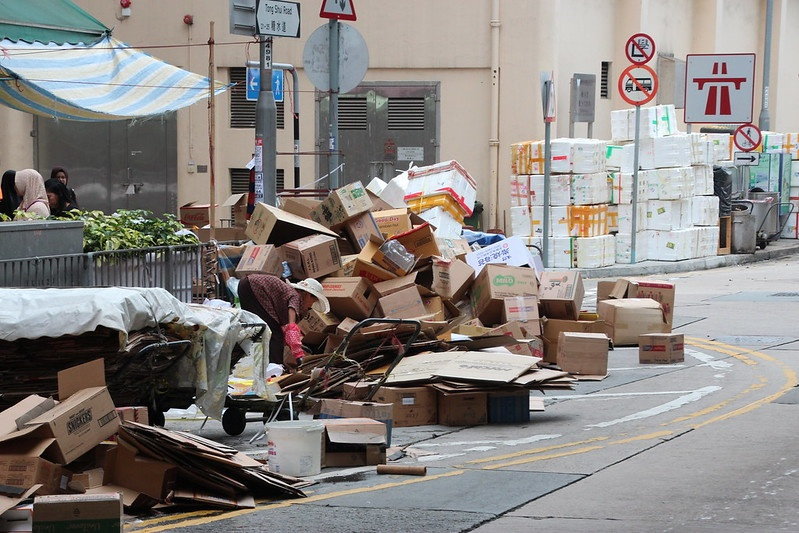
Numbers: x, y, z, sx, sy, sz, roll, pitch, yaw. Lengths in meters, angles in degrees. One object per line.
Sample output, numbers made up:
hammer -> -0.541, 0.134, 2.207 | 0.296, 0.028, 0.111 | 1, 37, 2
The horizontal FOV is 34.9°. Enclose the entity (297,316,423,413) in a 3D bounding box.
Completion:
entity -> -0.405, 1.085, 15.713 | 0.900, 0.931, 1.585 | 7, 4, -38

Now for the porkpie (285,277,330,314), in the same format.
porkpie -> -1.201, 0.340, 16.575 | 0.523, 0.174, 0.518 | 13, -17, 47

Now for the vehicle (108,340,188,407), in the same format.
vehicle -> -2.839, 1.222, 14.363 | 0.620, 0.798, 0.876 | -1, 2, 42

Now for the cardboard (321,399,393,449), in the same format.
cardboard -> -0.479, 1.886, 14.750 | 1.081, 0.431, 0.551 | -2, -4, 43

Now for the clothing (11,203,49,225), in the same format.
clothing -> -5.334, -0.760, 18.486 | 0.485, 0.413, 0.238 | 5, 30, -17

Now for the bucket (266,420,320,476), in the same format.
bucket -> -1.142, 1.974, 14.019 | 0.702, 0.403, 0.593 | 0, -1, -2

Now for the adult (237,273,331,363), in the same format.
adult -> -1.399, 0.688, 16.812 | 1.380, 1.307, 1.288 | 0, 3, -8

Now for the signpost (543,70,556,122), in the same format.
signpost -> 2.869, -3.214, 24.247 | 0.223, 0.922, 0.494 | -3, 2, 4

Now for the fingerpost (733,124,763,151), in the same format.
fingerpost -> 8.243, -3.013, 30.032 | 0.741, 0.586, 0.656 | -1, -6, 10

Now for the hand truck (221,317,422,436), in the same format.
hand truck -> -0.853, 1.287, 15.671 | 2.543, 1.188, 1.273 | 1, 2, 36

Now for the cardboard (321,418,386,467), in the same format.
cardboard -> -0.500, 1.946, 14.181 | 0.712, 0.356, 0.567 | 1, 5, -7

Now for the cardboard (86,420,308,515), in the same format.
cardboard -> -2.087, 2.096, 13.282 | 1.342, 0.517, 1.230 | 3, 0, 20

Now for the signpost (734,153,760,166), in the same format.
signpost -> 8.470, -2.608, 30.980 | 0.600, 0.289, 0.035 | -1, 0, 8

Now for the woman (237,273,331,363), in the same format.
woman -> -1.382, 0.687, 16.600 | 1.380, 1.307, 1.288 | 0, 3, -8

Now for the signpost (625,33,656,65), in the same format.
signpost -> 4.896, -4.348, 25.658 | 0.514, 0.628, 0.626 | -2, 1, 15
